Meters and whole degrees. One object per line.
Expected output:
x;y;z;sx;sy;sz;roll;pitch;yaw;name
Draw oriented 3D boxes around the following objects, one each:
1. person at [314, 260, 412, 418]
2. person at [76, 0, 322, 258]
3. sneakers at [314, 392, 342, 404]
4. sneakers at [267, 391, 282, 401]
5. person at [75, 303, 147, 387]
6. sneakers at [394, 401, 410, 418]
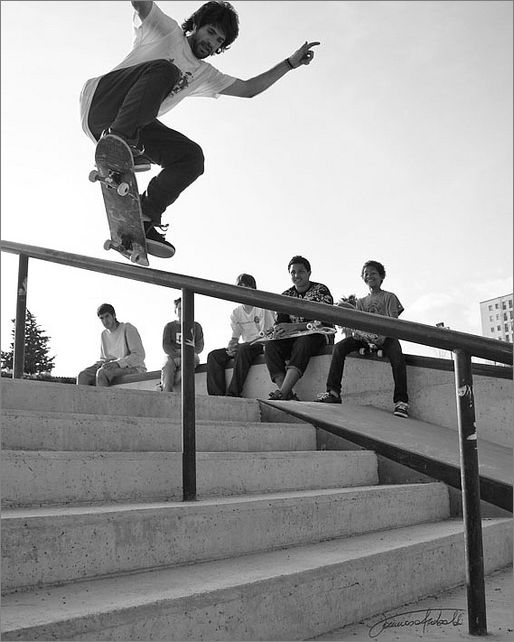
0.980;0.100;4.822;0.752;1.114;0.903;11;-4;13;person
-0.490;-1.137;3.462;1.051;1.518;0.632;14;-5;-40;person
0.584;0.639;4.727;0.235;0.111;0.091;18;-25;-31;sneakers
0.153;0.639;4.962;0.053;0.071;0.157;18;-13;-34;sneakers
-1.623;0.341;6.746;0.715;0.966;0.566;14;-4;-31;person
1.140;0.695;4.534;0.056;0.076;0.190;6;-17;-1;sneakers
